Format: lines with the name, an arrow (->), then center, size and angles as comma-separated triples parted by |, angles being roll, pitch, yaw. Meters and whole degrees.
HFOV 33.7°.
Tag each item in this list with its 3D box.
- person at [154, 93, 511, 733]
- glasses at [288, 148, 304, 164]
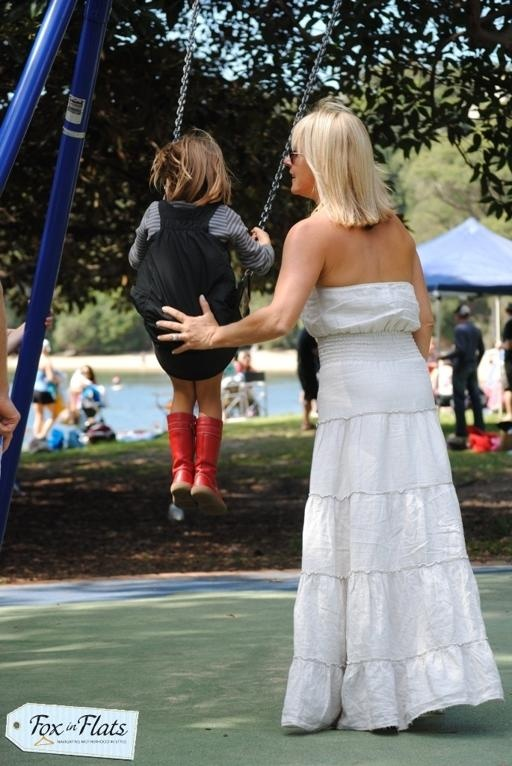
person -> 0.288, 0.081, 2.449 | 0.801, 1.812, 0.458 | 1, 5, -3
glasses -> 0.114, -0.688, 2.542 | 0.062, 0.017, 0.056 | 6, -1, -9
